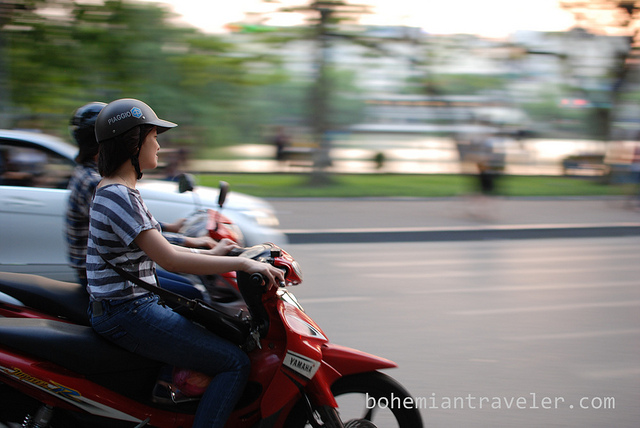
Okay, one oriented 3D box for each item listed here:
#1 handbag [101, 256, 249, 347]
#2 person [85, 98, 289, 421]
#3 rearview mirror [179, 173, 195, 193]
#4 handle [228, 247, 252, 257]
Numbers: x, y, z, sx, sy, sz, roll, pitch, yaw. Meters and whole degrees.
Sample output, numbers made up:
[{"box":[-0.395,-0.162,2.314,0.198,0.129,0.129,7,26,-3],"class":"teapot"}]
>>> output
[{"box":[-0.925,0.656,4.581,1.161,0.216,0.582,23,-7,-12],"class":"handbag"},{"box":[-1.079,0.325,4.424,1.172,2.277,0.475,4,15,13],"class":"person"},{"box":[-1.161,-0.278,5.449,0.188,0.139,0.180,4,-12,1],"class":"rearview mirror"},{"box":[-0.610,0.284,4.698,0.143,0.052,0.104,5,10,25],"class":"handle"}]
